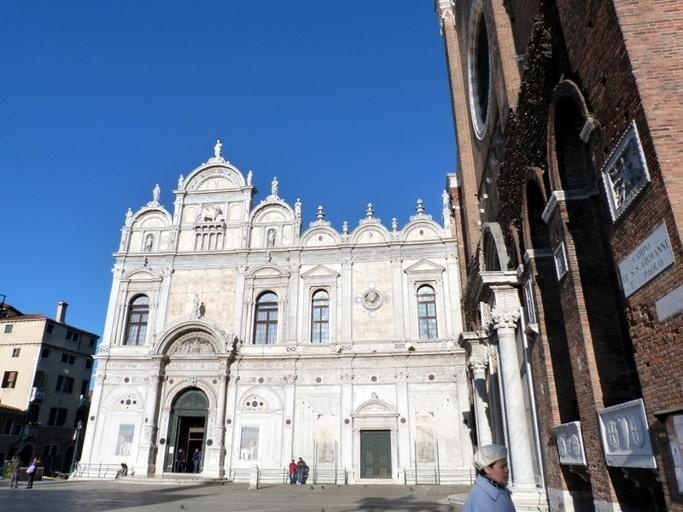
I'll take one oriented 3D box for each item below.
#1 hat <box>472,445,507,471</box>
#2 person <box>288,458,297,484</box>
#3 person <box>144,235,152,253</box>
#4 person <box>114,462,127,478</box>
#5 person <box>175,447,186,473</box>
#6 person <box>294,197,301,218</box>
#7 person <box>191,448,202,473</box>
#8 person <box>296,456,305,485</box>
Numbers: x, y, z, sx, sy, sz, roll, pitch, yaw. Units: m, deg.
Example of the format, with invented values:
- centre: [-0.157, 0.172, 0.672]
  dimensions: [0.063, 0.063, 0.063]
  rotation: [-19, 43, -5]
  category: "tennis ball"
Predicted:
- centre: [1.658, 2.253, 5.597]
  dimensions: [0.390, 0.302, 0.290]
  rotation: [-8, -21, 20]
  category: "hat"
- centre: [-2.602, 11.367, 26.320]
  dimensions: [0.454, 1.236, 0.963]
  rotation: [2, -26, -3]
  category: "person"
- centre: [-12.854, -0.879, 33.070]
  dimensions: [0.537, 1.227, 0.165]
  rotation: [-3, -26, 7]
  category: "person"
- centre: [-12.253, 11.918, 27.650]
  dimensions: [0.595, 0.830, 1.478]
  rotation: [11, -28, -21]
  category: "person"
- centre: [-9.440, 11.895, 29.151]
  dimensions: [0.463, 1.383, 1.209]
  rotation: [5, -26, -9]
  category: "person"
- centre: [-2.846, -2.960, 32.167]
  dimensions: [0.278, 1.192, 0.442]
  rotation: [6, -26, -13]
  category: "person"
- centre: [-8.393, 11.821, 28.814]
  dimensions: [0.429, 1.319, 1.262]
  rotation: [7, -26, -14]
  category: "person"
- centre: [-2.172, 11.357, 26.352]
  dimensions: [0.461, 1.283, 0.833]
  rotation: [-8, -27, 16]
  category: "person"
